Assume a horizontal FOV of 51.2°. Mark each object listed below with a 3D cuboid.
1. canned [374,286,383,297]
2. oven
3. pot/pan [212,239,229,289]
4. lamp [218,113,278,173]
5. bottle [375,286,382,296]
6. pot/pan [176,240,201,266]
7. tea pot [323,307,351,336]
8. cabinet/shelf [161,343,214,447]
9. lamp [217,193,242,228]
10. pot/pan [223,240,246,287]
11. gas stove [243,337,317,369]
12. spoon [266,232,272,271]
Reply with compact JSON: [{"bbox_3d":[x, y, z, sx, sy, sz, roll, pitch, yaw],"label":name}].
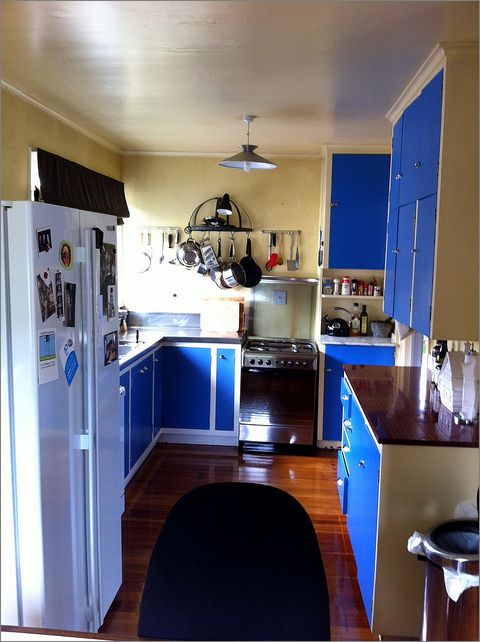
[{"bbox_3d":[1.219,-0.256,4.413,0.068,0.100,0.078,0,3,-7],"label":"canned"},{"bbox_3d":[0.331,0.709,4.379,0.516,0.975,0.607,0,-2,3],"label":"oven"},{"bbox_3d":[-0.196,-0.534,4.678,0.146,0.443,0.124,-1,7,4],"label":"pot/pan"},{"bbox_3d":[0.049,-1.124,3.116,0.246,0.334,0.285,-2,3,-18],"label":"lamp"},{"bbox_3d":[1.219,-0.262,4.415,0.062,0.092,0.072,1,4,0],"label":"bottle"},{"bbox_3d":[-0.492,-0.631,4.710,0.222,0.275,0.108,-1,5,-7],"label":"pot/pan"},{"bbox_3d":[0.850,0.023,4.404,0.188,0.223,0.139,-1,7,9],"label":"tea pot"},{"bbox_3d":[-0.440,0.597,4.404,0.503,1.253,0.580,1,4,1],"label":"cabinet/shelf"},{"bbox_3d":[-0.102,-1.000,4.558,0.228,0.337,0.247,-1,6,-2],"label":"lamp"},{"bbox_3d":[-0.074,-0.526,4.601,0.210,0.461,0.287,-2,6,-15],"label":"pot/pan"},{"bbox_3d":[0.355,0.287,4.392,0.632,0.164,0.708,0,6,7],"label":"gas stove"},{"bbox_3d":[0.261,-0.647,4.677,0.065,0.349,0.056,0,5,0],"label":"spoon"}]
